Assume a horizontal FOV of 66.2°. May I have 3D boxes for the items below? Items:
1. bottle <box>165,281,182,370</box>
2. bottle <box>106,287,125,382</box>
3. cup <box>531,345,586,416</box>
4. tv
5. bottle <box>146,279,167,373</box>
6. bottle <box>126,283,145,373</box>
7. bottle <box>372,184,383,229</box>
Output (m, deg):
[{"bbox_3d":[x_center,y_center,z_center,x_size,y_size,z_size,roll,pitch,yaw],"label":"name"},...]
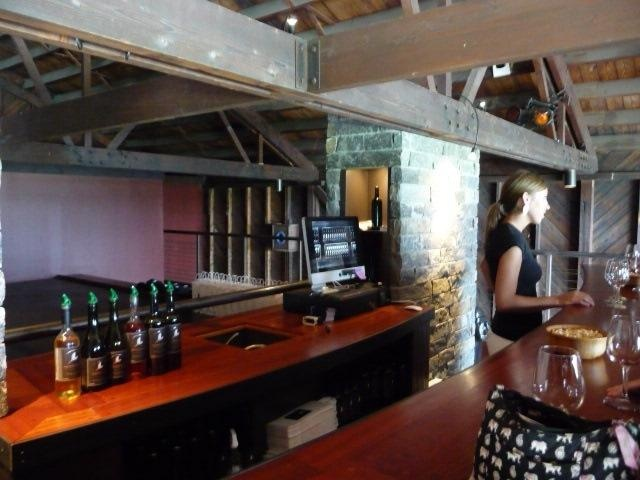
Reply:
[{"bbox_3d":[-0.630,0.343,2.083,0.064,0.372,0.278,-6,2,-16],"label":"bottle"},{"bbox_3d":[-0.797,0.362,1.908,0.071,0.384,0.198,-6,2,-21],"label":"bottle"},{"bbox_3d":[0.610,0.359,1.337,0.149,0.198,0.144,-1,4,0],"label":"cup"},{"bbox_3d":[0.086,0.057,3.030,0.059,0.333,0.445,-19,-11,32],"label":"tv"},{"bbox_3d":[-0.690,0.356,2.047,0.077,0.378,0.220,-6,2,-20],"label":"bottle"},{"bbox_3d":[-0.763,0.355,2.023,0.079,0.376,0.294,-6,2,-21],"label":"bottle"},{"bbox_3d":[0.440,-0.258,3.795,0.085,0.280,0.379,-5,2,8],"label":"bottle"}]
